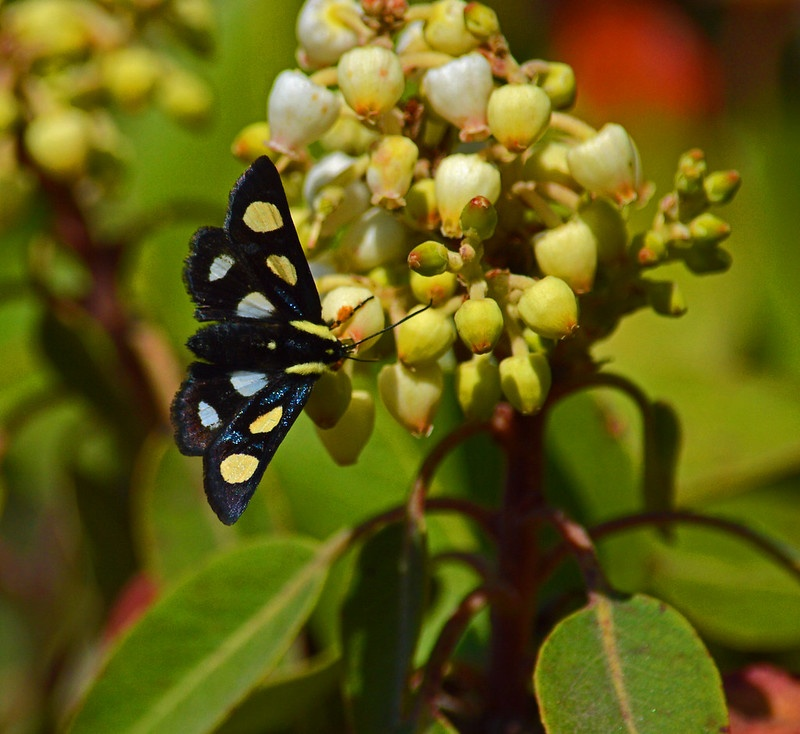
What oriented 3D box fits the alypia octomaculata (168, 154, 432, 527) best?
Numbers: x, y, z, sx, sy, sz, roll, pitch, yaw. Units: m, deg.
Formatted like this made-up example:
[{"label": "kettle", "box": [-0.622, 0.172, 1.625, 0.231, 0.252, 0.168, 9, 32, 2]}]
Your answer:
[{"label": "alypia octomaculata", "box": [-0.078, -0.026, 0.657, 0.153, 0.232, 0.072, 8, 56, -7]}]
